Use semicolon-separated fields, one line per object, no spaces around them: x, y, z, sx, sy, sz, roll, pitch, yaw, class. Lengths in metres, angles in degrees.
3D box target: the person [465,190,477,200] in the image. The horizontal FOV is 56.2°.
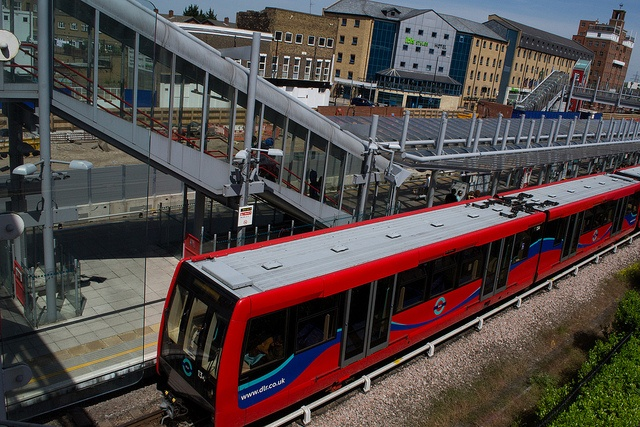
6.726;-0.792;26.814;0.631;0.191;0.706;7;14;15;person
